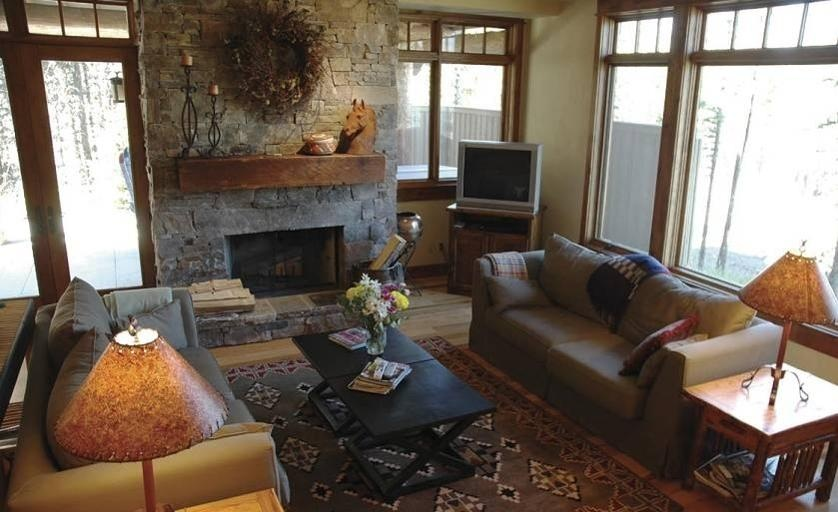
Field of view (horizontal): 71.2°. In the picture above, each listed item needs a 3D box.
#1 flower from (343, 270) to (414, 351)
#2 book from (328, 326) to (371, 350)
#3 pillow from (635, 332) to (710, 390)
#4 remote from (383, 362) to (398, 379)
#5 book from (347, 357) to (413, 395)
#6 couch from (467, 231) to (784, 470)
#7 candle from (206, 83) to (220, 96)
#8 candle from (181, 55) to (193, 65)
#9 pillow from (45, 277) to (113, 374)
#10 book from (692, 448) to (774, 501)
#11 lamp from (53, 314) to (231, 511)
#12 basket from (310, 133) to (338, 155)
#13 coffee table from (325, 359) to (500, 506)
[{"bbox_3d":[-0.353,0.530,5.109,0.599,0.666,0.654,6,6,3],"label":"flower"},{"bbox_3d":[-0.594,0.719,5.164,0.221,0.044,0.233,-12,20,-36],"label":"book"},{"bbox_3d":[1.928,0.835,4.552,0.459,0.428,0.137,-8,30,-42],"label":"pillow"},{"bbox_3d":[-0.236,0.921,4.701,0.087,0.036,0.161,-15,20,4],"label":"remote"},{"bbox_3d":[-0.316,0.957,4.650,0.293,0.069,0.300,11,30,24],"label":"book"},{"bbox_3d":[1.718,0.736,5.572,1.311,1.239,2.597,-12,20,-27],"label":"couch"},{"bbox_3d":[-2.027,-1.678,5.843,0.154,0.130,0.143,0,6,-2],"label":"candle"},{"bbox_3d":[-2.237,-1.911,5.700,0.117,0.101,0.105,-16,28,-42],"label":"candle"},{"bbox_3d":[-2.392,0.501,4.207,0.393,0.356,1.126,1,14,-35],"label":"pillow"},{"bbox_3d":[2.376,1.645,4.409,0.508,0.141,0.382,-10,20,-6],"label":"book"},{"bbox_3d":[-1.385,0.656,2.862,0.802,0.618,0.331,-7,18,-18],"label":"lamp"},{"bbox_3d":[-1.037,-1.218,6.300,0.271,0.195,0.251,-2,14,-5],"label":"basket"},{"bbox_3d":[-0.151,1.372,4.835,1.042,0.570,1.258,-3,12,-27],"label":"coffee table"}]
